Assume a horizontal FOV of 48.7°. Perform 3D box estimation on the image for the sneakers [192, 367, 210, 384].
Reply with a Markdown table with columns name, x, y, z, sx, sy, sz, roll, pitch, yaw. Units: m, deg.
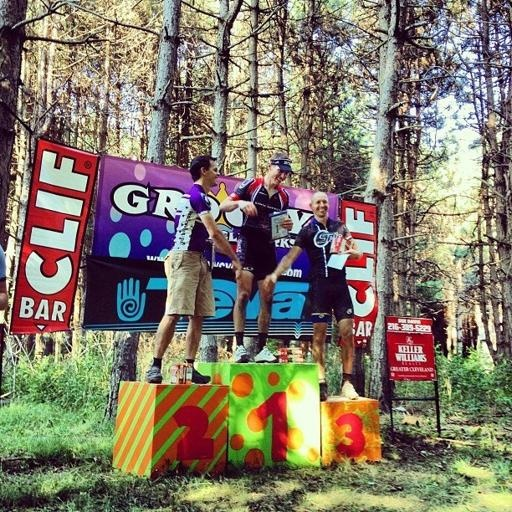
| name | x | y | z | sx | sy | sz | roll | pitch | yaw |
| --- | --- | --- | --- | --- | --- | --- | --- | --- | --- |
| sneakers | -0.615 | 1.300 | 6.165 | 0.146 | 0.170 | 0.277 | -2 | -7 | 27 |

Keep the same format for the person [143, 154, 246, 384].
| name | x | y | z | sx | sy | sz | roll | pitch | yaw |
| --- | --- | --- | --- | --- | --- | --- | --- | --- | --- |
| person | -0.711 | 0.083 | 6.232 | 0.897 | 2.597 | 0.504 | 4 | -7 | -21 |

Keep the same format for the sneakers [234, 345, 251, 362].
| name | x | y | z | sx | sy | sz | roll | pitch | yaw |
| --- | --- | --- | --- | --- | --- | --- | --- | --- | --- |
| sneakers | -0.171 | 1.173 | 6.734 | 0.122 | 0.155 | 0.318 | 2 | -16 | -11 |

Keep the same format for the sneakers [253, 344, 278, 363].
| name | x | y | z | sx | sy | sz | roll | pitch | yaw |
| --- | --- | --- | --- | --- | --- | --- | --- | --- | --- |
| sneakers | 0.100 | 1.193 | 6.807 | 0.112 | 0.181 | 0.342 | 8 | -19 | -30 |

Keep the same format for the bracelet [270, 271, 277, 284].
| name | x | y | z | sx | sy | sz | roll | pitch | yaw |
| --- | --- | --- | --- | --- | --- | --- | --- | --- | --- |
| bracelet | 0.205 | 0.264 | 6.876 | 0.102 | 0.146 | 0.096 | 1 | -6 | 3 |

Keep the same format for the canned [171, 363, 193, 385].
| name | x | y | z | sx | sy | sz | roll | pitch | yaw |
| --- | --- | --- | --- | --- | --- | --- | --- | --- | --- |
| canned | -0.780 | 1.228 | 5.904 | 0.188 | 0.225 | 0.198 | 1 | -3 | -10 |

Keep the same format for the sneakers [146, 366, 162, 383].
| name | x | y | z | sx | sy | sz | roll | pitch | yaw |
| --- | --- | --- | --- | --- | --- | --- | --- | --- | --- |
| sneakers | -1.069 | 1.229 | 5.920 | 0.146 | 0.165 | 0.096 | 2 | -6 | -5 |

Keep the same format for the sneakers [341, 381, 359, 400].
| name | x | y | z | sx | sy | sz | roll | pitch | yaw |
| --- | --- | --- | --- | --- | --- | --- | --- | --- | --- |
| sneakers | 1.135 | 1.610 | 6.868 | 0.194 | 0.204 | 0.360 | 2 | -7 | -4 |

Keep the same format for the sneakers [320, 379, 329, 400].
| name | x | y | z | sx | sy | sz | roll | pitch | yaw |
| --- | --- | --- | --- | --- | --- | --- | --- | --- | --- |
| sneakers | 0.789 | 1.583 | 6.693 | 0.092 | 0.216 | 0.208 | 0 | -7 | 12 |
